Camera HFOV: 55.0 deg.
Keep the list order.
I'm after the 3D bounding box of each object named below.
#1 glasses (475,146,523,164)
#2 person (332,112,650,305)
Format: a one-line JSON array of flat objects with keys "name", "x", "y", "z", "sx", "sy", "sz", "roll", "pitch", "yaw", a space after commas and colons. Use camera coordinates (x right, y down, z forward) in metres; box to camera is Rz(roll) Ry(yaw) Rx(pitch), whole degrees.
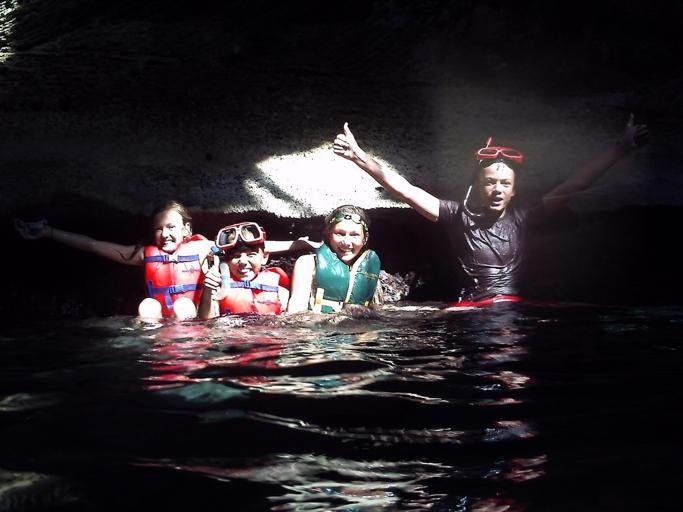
[{"name": "glasses", "x": 0.833, "y": -0.540, "z": 3.459, "sx": 0.233, "sy": 0.097, "sz": 0.109, "roll": 2, "pitch": -3, "yaw": 1}, {"name": "person", "x": 0.770, "y": -0.157, "z": 3.513, "sx": 1.867, "sy": 0.909, "sz": 0.362, "roll": -8, "pitch": 13, "yaw": -15}]
